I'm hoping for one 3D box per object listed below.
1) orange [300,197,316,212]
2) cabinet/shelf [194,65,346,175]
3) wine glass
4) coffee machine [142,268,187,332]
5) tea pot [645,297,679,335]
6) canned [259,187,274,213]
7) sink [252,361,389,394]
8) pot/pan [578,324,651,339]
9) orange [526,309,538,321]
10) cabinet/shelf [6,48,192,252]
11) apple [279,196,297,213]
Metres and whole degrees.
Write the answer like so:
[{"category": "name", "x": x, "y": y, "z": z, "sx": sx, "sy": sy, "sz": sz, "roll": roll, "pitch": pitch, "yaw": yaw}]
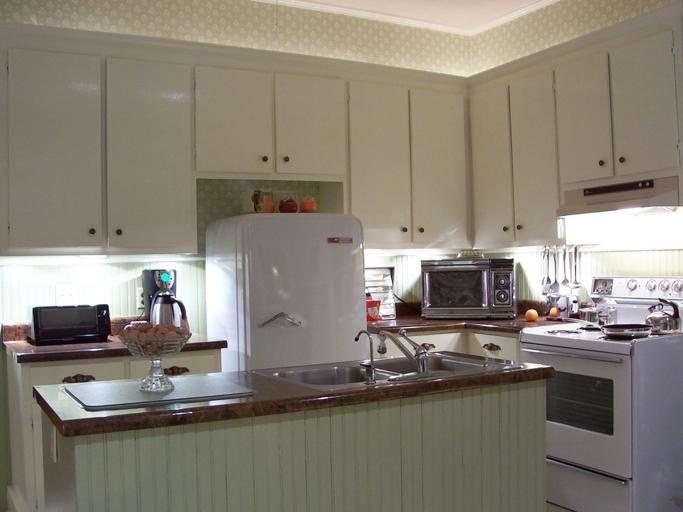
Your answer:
[{"category": "orange", "x": -0.214, "y": -0.363, "z": 3.888, "sx": 0.094, "sy": 0.102, "sz": 0.098, "roll": -4, "pitch": 6, "yaw": 17}, {"category": "cabinet/shelf", "x": -0.504, "y": -0.927, "z": 3.843, "sx": 1.073, "sy": 0.756, "sz": 0.628, "roll": 2, "pitch": -1, "yaw": -27}, {"category": "wine glass", "x": -0.695, "y": 0.361, "z": 2.154, "sx": 0.233, "sy": 0.204, "sz": 0.246, "roll": 1, "pitch": -4, "yaw": -6}, {"category": "coffee machine", "x": -1.133, "y": 0.247, "z": 3.641, "sx": 0.230, "sy": 0.399, "sz": 0.545, "roll": -3, "pitch": 1, "yaw": -20}, {"category": "tea pot", "x": 1.911, "y": 0.361, "z": 3.539, "sx": 0.246, "sy": 0.272, "sz": 0.168, "roll": 0, "pitch": -2, "yaw": 22}, {"category": "canned", "x": -0.492, "y": -0.382, "z": 3.800, "sx": 0.086, "sy": 0.149, "sz": 0.116, "roll": -3, "pitch": 1, "yaw": -6}, {"category": "sink", "x": -0.059, "y": 0.529, "z": 2.550, "sx": 0.287, "sy": 0.113, "sz": 0.236, "roll": 0, "pitch": 0, "yaw": -33}, {"category": "pot/pan", "x": 1.611, "y": 0.424, "z": 3.295, "sx": 0.271, "sy": 0.042, "sz": 0.147, "roll": -4, "pitch": -2, "yaw": 21}, {"category": "orange", "x": 1.375, "y": 0.423, "z": 4.165, "sx": 0.076, "sy": 0.074, "sz": 0.145, "roll": -3, "pitch": 1, "yaw": 13}, {"category": "cabinet/shelf", "x": -1.507, "y": -0.658, "z": 3.464, "sx": 1.189, "sy": 1.285, "sz": 0.474, "roll": 0, "pitch": -2, "yaw": -23}, {"category": "apple", "x": -0.351, "y": -0.362, "z": 3.862, "sx": 0.099, "sy": 0.108, "sz": 0.103, "roll": -2, "pitch": -5, "yaw": 24}]
